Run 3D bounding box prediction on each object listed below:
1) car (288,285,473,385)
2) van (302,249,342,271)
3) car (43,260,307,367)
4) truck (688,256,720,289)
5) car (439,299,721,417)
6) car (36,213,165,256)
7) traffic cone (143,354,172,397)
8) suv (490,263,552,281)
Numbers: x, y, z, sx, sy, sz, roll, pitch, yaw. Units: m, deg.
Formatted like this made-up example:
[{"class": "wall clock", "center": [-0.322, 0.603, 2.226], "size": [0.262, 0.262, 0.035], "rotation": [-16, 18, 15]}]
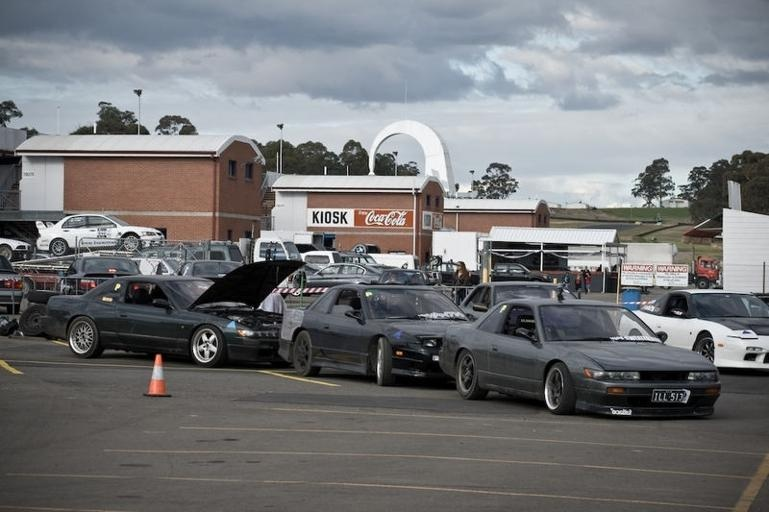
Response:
[{"class": "car", "center": [-0.211, 1.504, 20.021], "size": [2.926, 1.072, 1.922], "rotation": [-3, -4, 44]}, {"class": "van", "center": [-3.160, 0.253, 49.259], "size": [1.890, 1.011, 1.134], "rotation": [-2, 4, 17]}, {"class": "car", "center": [-4.514, 1.068, 22.612], "size": [4.847, 2.075, 2.385], "rotation": [0, 0, 22]}, {"class": "truck", "center": [22.545, 1.132, 71.063], "size": [1.938, 2.012, 3.529], "rotation": [1, -6, -27]}, {"class": "car", "center": [3.128, 1.708, 17.023], "size": [2.136, 1.176, 3.439], "rotation": [3, -4, -39]}, {"class": "car", "center": [-13.021, -1.013, 44.846], "size": [5.221, 1.769, 2.396], "rotation": [-4, 0, 16]}, {"class": "traffic cone", "center": [-4.016, 2.081, 17.755], "size": [0.604, 0.698, 0.603], "rotation": [3, -4, -24]}, {"class": "suv", "center": [6.643, 1.002, 50.990], "size": [2.641, 1.151, 1.250], "rotation": [-1, 3, 14]}]
